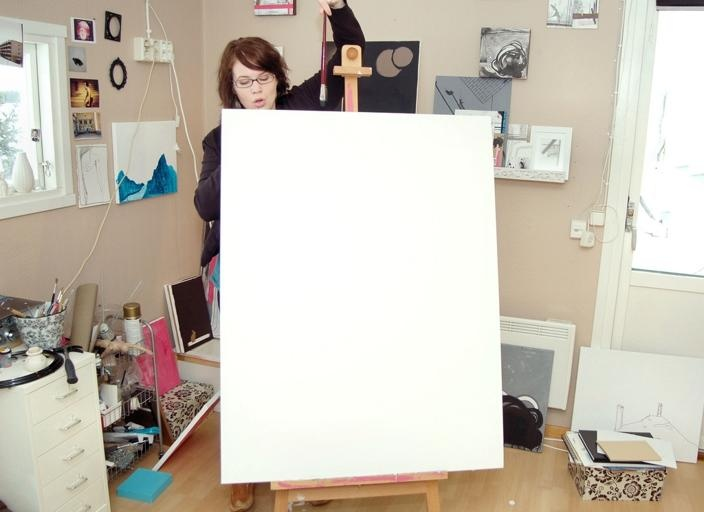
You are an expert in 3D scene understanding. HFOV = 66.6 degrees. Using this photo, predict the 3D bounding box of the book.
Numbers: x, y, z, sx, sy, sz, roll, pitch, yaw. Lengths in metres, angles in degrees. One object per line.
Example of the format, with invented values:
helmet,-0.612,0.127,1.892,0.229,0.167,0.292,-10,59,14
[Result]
book,1.498,1.061,3.014,0.325,0.052,0.342,-2,19,-6

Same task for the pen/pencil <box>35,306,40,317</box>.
pen/pencil,-1.442,0.253,2.442,0.013,0.005,0.054,23,42,-14

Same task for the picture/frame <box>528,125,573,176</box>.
picture/frame,1.192,-0.631,3.168,0.264,0.396,0.021,2,8,9

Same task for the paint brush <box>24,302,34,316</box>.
paint brush,-1.480,0.243,2.438,0.040,0.037,0.081,-7,-16,-9

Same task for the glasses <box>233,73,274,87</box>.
glasses,-0.439,-0.785,2.401,0.174,0.061,0.043,-2,11,-9

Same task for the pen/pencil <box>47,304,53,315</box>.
pen/pencil,-1.390,0.246,2.454,0.013,0.010,0.044,-13,40,38

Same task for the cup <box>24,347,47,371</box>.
cup,-1.368,0.446,2.303,0.086,0.101,0.086,-1,4,0
